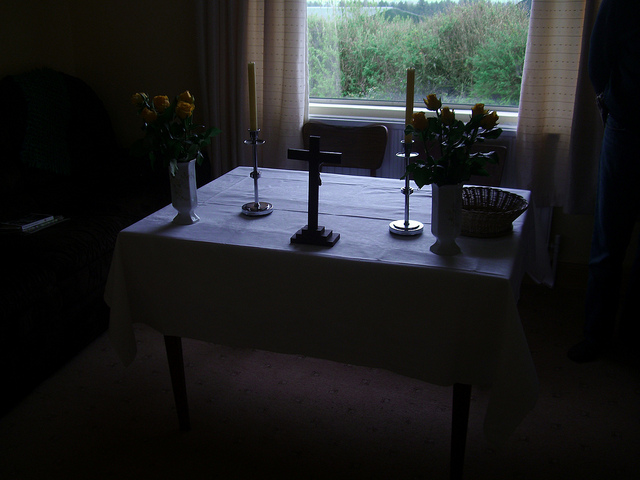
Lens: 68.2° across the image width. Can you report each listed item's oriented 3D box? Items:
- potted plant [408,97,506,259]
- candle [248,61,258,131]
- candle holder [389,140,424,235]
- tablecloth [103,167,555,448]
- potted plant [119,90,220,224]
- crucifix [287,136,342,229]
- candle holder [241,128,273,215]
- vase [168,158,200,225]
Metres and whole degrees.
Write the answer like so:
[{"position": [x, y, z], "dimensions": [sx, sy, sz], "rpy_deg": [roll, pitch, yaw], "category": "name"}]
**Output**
[{"position": [0.443, -0.192, 1.589], "dimensions": [0.314, 0.507, 0.329], "rpy_deg": [7, 16, 23], "category": "potted plant"}, {"position": [-0.259, -0.553, 1.802], "dimensions": [0.036, 0.255, 0.026], "rpy_deg": [1, 5, 13], "category": "candle"}, {"position": [0.320, -0.195, 1.772], "dimensions": [0.142, 0.343, 0.146], "rpy_deg": [-8, 14, -33], "category": "candle holder"}, {"position": [0.018, 0.195, 1.896], "dimensions": [1.528, 0.619, 0.720], "rpy_deg": [7, 22, 12], "category": "tablecloth"}, {"position": [-0.557, -0.306, 1.814], "dimensions": [0.330, 0.472, 0.263], "rpy_deg": [-14, 24, -38], "category": "potted plant"}, {"position": [-0.034, -0.234, 1.705], "dimensions": [0.154, 0.342, 0.184], "rpy_deg": [10, 28, 15], "category": "crucifix"}, {"position": [-0.261, -0.248, 1.929], "dimensions": [0.124, 0.369, 0.123], "rpy_deg": [-7, 29, -24], "category": "candle holder"}, {"position": [-0.541, -0.191, 1.854], "dimensions": [0.112, 0.251, 0.120], "rpy_deg": [1, 14, 6], "category": "vase"}]
